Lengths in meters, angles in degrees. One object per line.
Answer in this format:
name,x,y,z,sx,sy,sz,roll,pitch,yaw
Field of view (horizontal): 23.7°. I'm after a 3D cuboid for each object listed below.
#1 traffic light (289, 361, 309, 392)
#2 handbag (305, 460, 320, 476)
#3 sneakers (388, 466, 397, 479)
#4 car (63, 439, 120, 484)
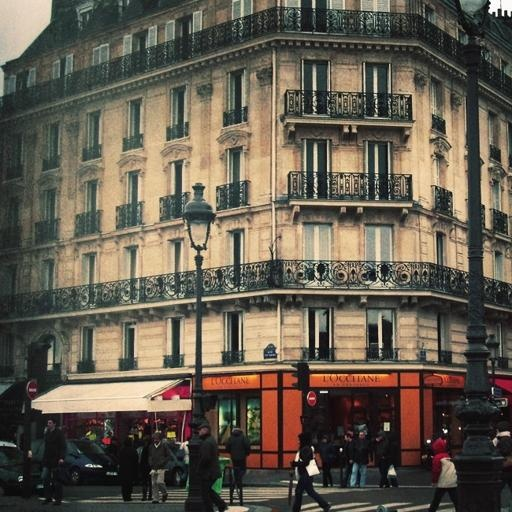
traffic light,1.260,3.403,33.718,0.466,0.972,0.961,-7,6,1
handbag,1.290,4.833,27.425,0.268,0.432,0.328,-6,6,13
sneakers,3.984,6.401,35.731,0.255,0.328,0.660,-7,6,2
car,-5.138,6.441,37.955,1.143,1.279,2.373,7,-15,-37
